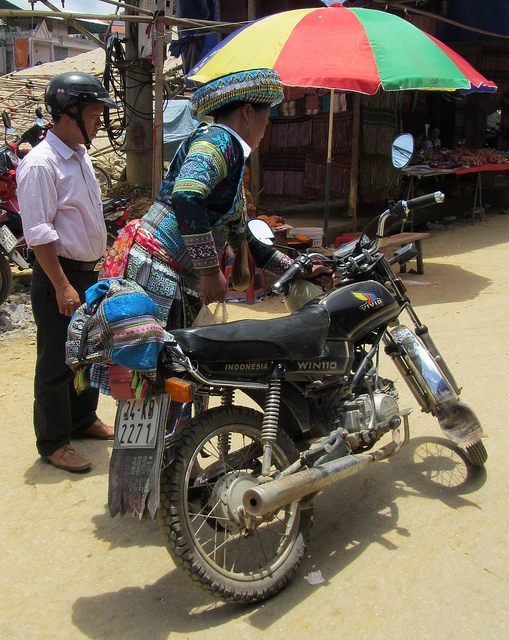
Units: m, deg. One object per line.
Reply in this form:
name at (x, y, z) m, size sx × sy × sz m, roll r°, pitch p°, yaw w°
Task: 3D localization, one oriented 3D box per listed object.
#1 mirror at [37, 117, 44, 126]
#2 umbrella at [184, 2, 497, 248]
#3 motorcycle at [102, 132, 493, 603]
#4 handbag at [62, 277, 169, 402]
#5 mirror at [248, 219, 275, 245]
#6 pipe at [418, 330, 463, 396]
mirror at (-2.869, -2.641, 7.427) m, size 0.023 × 0.079 × 0.090 m, roll -13°, pitch 6°, yaw 21°
umbrella at (0.975, -2.257, 7.153) m, size 3.498 × 2.289 × 3.053 m, roll -1°, pitch 15°, yaw -3°
motorcycle at (0.331, 0.149, 2.388) m, size 0.923 × 1.446 × 2.264 m, roll -4°, pitch 6°, yaw 42°
handbag at (-0.452, 0.051, 1.808) m, size 0.262 × 0.354 × 0.437 m, roll 2°, pitch -8°, yaw -30°
mirror at (0.022, -0.347, 2.244) m, size 0.023 × 0.122 × 0.082 m, roll -37°, pitch 31°, yaw 46°
pipe at (1.081, 0.254, 3.240) m, size 0.097 × 0.451 × 0.187 m, roll -36°, pitch -2°, yaw -14°
